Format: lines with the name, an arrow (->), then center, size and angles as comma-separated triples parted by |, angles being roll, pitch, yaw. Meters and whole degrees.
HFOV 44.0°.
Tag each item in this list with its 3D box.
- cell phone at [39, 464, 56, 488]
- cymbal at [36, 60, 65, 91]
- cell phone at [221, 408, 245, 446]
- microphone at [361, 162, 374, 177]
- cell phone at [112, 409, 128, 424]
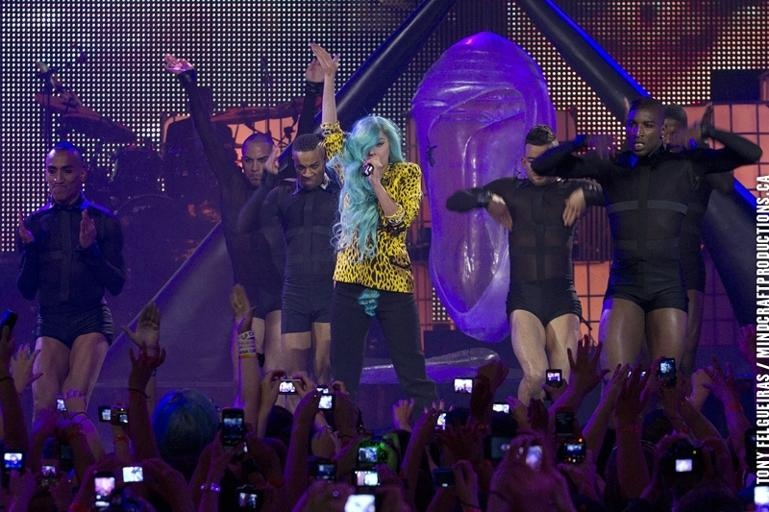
cell phone -> -1.856, 1.215, 5.265 | 0.082, 0.112, 0.026 | 5, -9, -11
cymbal -> -3.836, -2.007, 10.875 | 0.281, 0.377, 0.662 | 2, -7, -22
cell phone -> -0.809, 0.910, 5.103 | 0.133, 0.193, 0.127 | 1, -6, -10
microphone -> -0.119, -0.632, 7.014 | 0.055, 0.089, 0.061 | 26, -45, -8
cell phone -> -1.606, 0.971, 5.786 | 0.094, 0.092, 0.095 | 2, 2, 0
